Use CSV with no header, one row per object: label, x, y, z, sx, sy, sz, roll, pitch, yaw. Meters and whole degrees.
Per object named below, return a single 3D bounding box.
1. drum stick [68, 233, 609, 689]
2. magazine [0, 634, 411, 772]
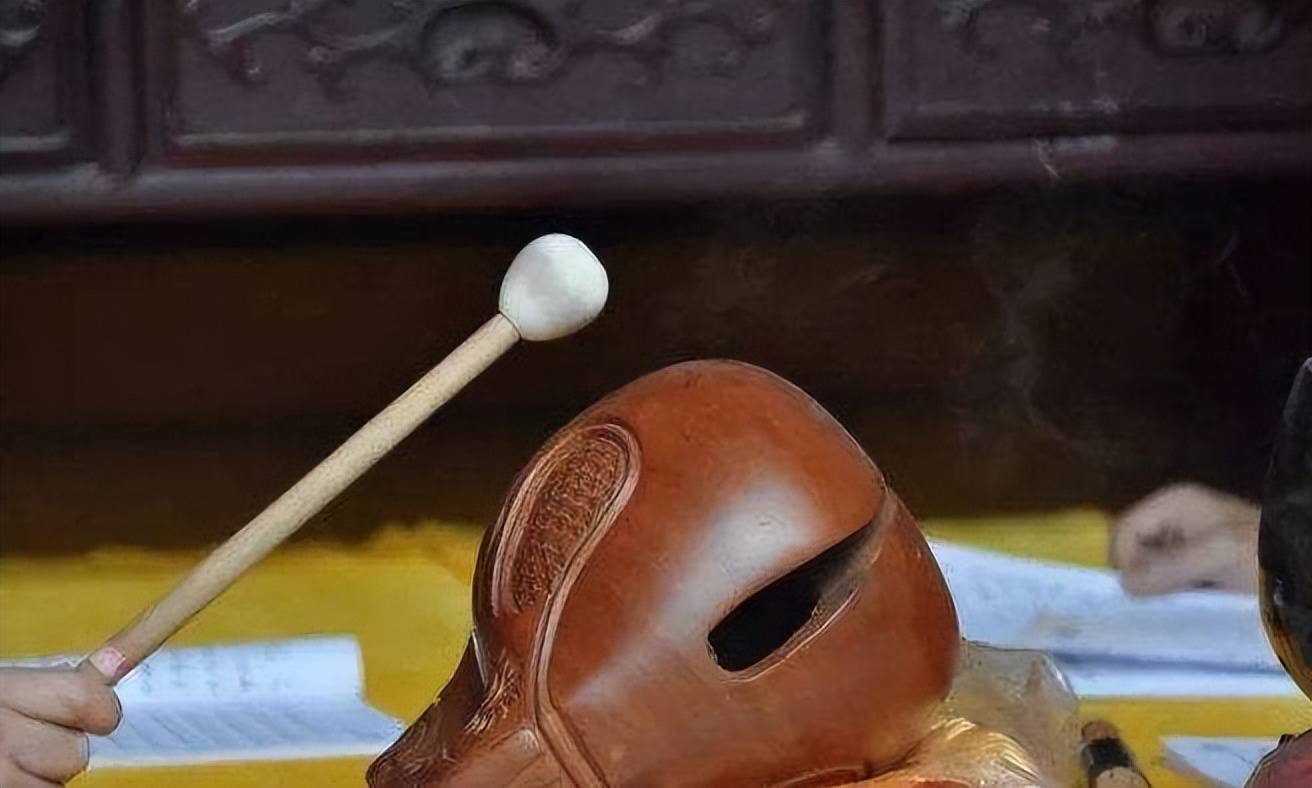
drum stick,-0.267,0.064,1.148,0.516,0.086,0.089,-39,42,0
magazine,-0.419,0.280,1.169,0.270,0.049,0.150,-7,61,3
